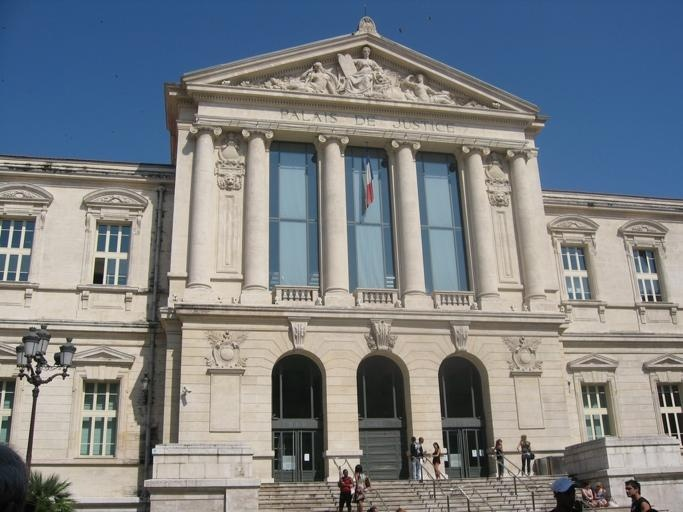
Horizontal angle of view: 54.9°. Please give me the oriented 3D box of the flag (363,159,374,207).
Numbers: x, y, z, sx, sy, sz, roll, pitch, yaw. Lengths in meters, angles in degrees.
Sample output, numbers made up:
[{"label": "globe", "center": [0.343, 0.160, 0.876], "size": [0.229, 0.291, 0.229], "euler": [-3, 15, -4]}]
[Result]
[{"label": "flag", "center": [1.380, -3.580, 32.475], "size": [0.537, 2.625, 0.383], "euler": [4, -21, -14]}]

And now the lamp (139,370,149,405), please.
[{"label": "lamp", "center": [-8.602, 5.748, 28.595], "size": [0.368, 1.348, 0.757], "euler": [6, -21, -17]}]

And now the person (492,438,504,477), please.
[{"label": "person", "center": [6.861, 8.731, 28.503], "size": [0.385, 1.547, 1.059], "euler": [-6, -20, 14]}]

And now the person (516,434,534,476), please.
[{"label": "person", "center": [8.020, 8.594, 28.364], "size": [0.641, 1.666, 1.293], "euler": [-6, -20, 14]}]
